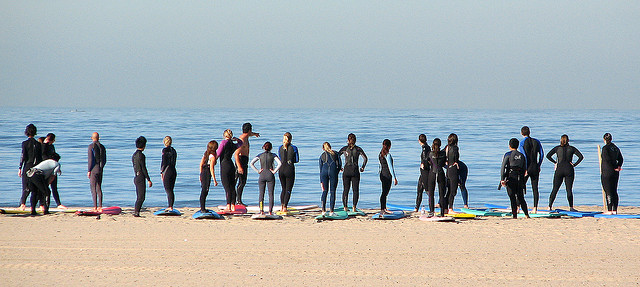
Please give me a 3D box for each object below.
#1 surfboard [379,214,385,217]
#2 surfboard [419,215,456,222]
[{"bbox_3d":[5.288,6.148,91.072,0.382,0.225,0.084,-2,-8,4],"label":"surfboard"},{"bbox_3d":[9.945,6.408,90.627,2.619,0.497,0.378,-1,-8,0],"label":"surfboard"}]
